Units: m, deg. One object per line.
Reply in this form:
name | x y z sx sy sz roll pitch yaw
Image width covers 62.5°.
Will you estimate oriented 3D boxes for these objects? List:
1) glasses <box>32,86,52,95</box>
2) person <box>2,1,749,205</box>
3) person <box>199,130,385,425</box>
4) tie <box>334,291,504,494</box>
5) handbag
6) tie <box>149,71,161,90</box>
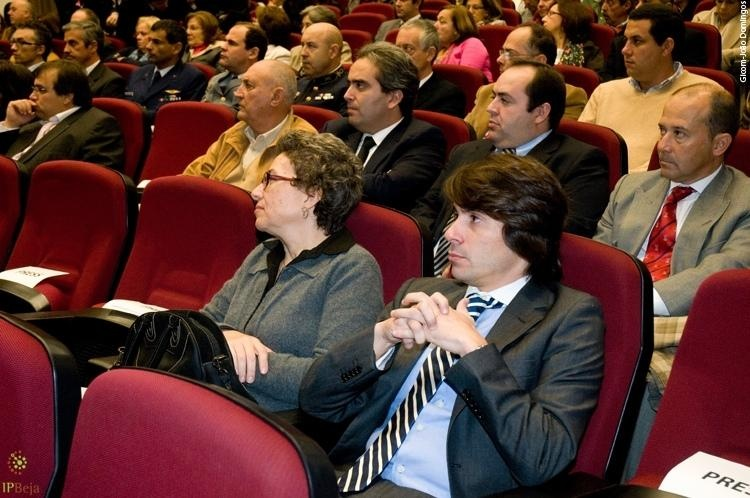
glasses | -2.517 -1.188 4.644 0.086 0.029 0.092 6 -13 14
person | 0.005 -1.066 4.415 2.651 1.146 0.912 1 -34 -3
person | -0.391 0.112 2.606 0.833 1.214 0.645 6 9 32
tie | 0.138 0.562 2.113 0.238 1.004 0.114 28 -12 40
handbag | -0.617 0.321 1.922 0.224 0.236 0.122 11 8 27
tie | -2.301 -1.758 6.422 0.090 0.200 0.047 14 -20 3
